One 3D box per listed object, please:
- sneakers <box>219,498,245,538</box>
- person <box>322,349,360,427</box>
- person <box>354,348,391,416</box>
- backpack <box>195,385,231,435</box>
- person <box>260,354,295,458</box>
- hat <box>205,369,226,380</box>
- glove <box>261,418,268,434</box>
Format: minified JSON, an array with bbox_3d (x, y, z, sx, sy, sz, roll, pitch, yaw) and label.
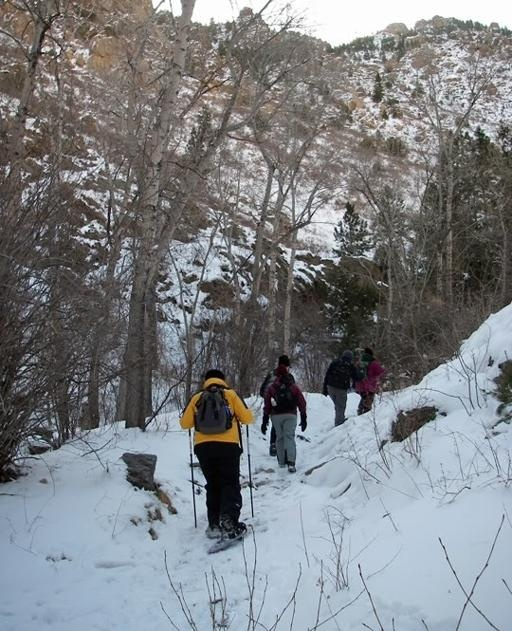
[{"bbox_3d":[-0.218,1.981,6.000,0.260,0.206,0.488,-5,3,-3],"label":"sneakers"},{"bbox_3d":[1.523,1.338,11.202,0.641,1.418,2.094,-4,3,7],"label":"person"},{"bbox_3d":[2.028,1.148,11.138,0.509,1.061,1.469,-4,3,9],"label":"person"},{"bbox_3d":[-0.422,0.954,6.283,0.318,0.489,0.255,-4,-33,8],"label":"backpack"},{"bbox_3d":[0.400,1.481,9.486,0.502,1.605,0.461,-5,28,-3],"label":"person"},{"bbox_3d":[-0.446,0.624,6.802,0.137,0.150,0.142,7,-13,-26],"label":"hat"},{"bbox_3d":[0.134,1.608,9.223,0.139,0.283,0.079,4,-13,-4],"label":"glove"}]
